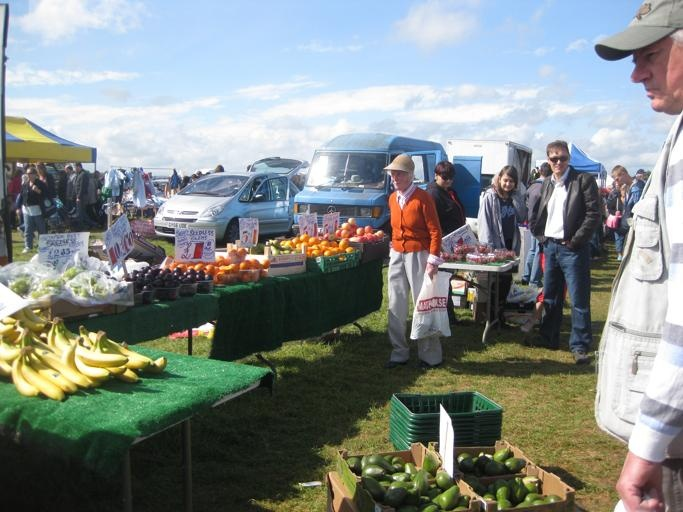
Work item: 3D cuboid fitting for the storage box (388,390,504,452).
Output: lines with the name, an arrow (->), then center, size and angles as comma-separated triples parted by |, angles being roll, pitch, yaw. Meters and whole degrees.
storage box -> 0.752, 1.090, 3.935 | 0.759, 0.364, 0.552 | 0, 2, -1

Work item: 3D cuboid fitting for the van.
van -> 1.260, -1.914, 13.451 | 2.459, 2.290, 4.176 | 4, 7, 35

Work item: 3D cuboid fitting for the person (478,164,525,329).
person -> 2.149, -0.193, 7.251 | 0.618, 2.005, 0.707 | 0, 1, -11

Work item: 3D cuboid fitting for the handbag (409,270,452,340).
handbag -> 0.925, 0.499, 5.460 | 0.446, 0.695, 0.227 | -1, 8, -2

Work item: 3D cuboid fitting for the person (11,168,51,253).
person -> -7.341, -1.172, 12.656 | 0.616, 2.471, 0.506 | 4, 6, 25

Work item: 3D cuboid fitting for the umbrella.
umbrella -> -5.261, -2.046, 9.357 | 0.796, 0.731, 2.091 | 2, 10, 6

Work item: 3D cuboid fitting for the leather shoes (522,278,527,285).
leather shoes -> 3.384, 0.458, 9.900 | 0.092, 0.129, 0.125 | -1, 20, 17

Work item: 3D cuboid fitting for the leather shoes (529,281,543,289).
leather shoes -> 3.012, 0.432, 8.295 | 0.217, 0.138, 0.312 | 0, -2, 16

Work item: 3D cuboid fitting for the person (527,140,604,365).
person -> 2.540, -0.109, 6.157 | 0.517, 2.422, 1.007 | -3, 7, -21

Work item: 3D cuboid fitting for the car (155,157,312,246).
car -> -2.831, -1.313, 13.767 | 1.860, 1.716, 3.422 | 9, 12, 41
